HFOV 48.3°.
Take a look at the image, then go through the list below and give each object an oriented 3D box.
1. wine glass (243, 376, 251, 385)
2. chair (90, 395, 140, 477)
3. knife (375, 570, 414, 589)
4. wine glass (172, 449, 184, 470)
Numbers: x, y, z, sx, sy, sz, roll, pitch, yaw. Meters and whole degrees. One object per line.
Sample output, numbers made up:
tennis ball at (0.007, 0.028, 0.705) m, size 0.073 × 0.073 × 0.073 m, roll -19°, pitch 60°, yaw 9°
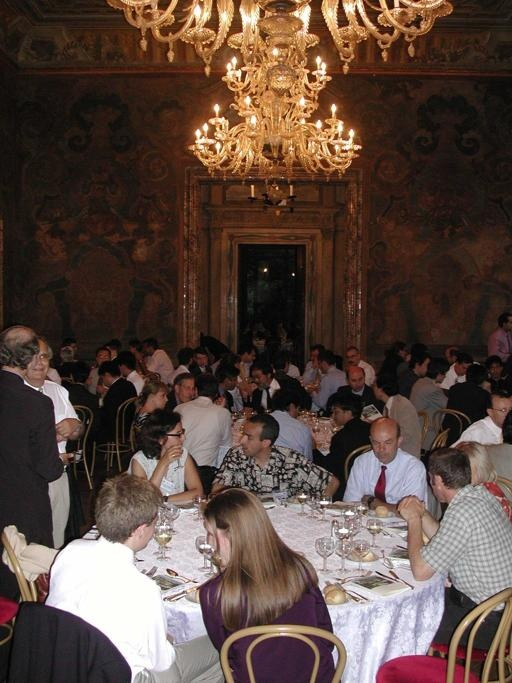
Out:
wine glass at (-0.128, 0.537, 7.800) m, size 0.080 × 0.066 × 0.077 m, roll 0°, pitch -1°, yaw 9°
chair at (-1.567, 0.974, 6.660) m, size 0.559 × 0.980 × 0.455 m, roll 3°, pitch -5°, yaw 11°
knife at (0.510, 0.884, 2.103) m, size 0.047 × 0.010 × 0.152 m, roll -1°, pitch 0°, yaw -4°
wine glass at (-0.450, 0.690, 3.318) m, size 0.075 × 0.120 × 0.246 m, roll 3°, pitch -1°, yaw -7°
